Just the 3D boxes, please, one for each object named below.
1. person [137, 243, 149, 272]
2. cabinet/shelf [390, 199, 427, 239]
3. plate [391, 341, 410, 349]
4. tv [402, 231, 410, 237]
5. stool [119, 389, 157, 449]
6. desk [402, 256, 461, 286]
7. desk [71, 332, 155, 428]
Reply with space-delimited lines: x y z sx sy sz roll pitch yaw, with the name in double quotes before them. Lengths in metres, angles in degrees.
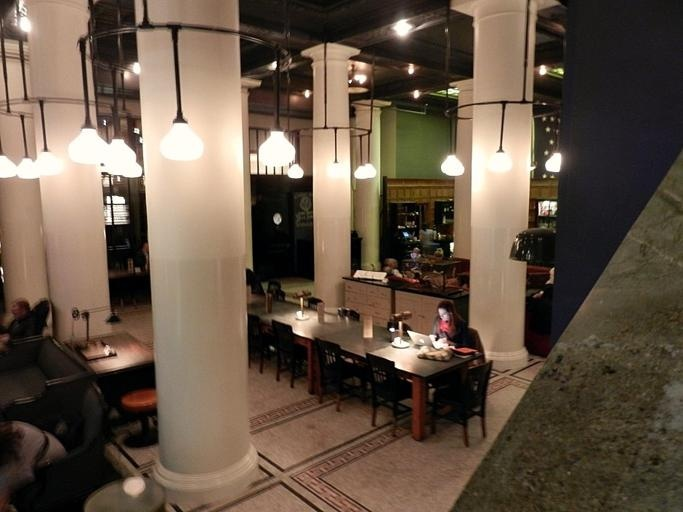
"person" -4.727 0.057 13.500 0.206 0.649 1.048 -4 9 -21
"cabinet/shelf" 2.308 -1.246 19.313 0.654 1.223 2.241 4 10 28
"plate" 0.754 1.121 7.163 0.225 0.047 0.232 0 9 2
"tv" 2.127 -0.740 18.668 0.169 0.238 0.401 6 11 38
"stool" -2.362 1.858 6.598 0.375 0.553 0.735 -4 9 -21
"desk" 1.727 0.287 11.116 0.782 0.523 0.788 1 5 37
"desk" -2.840 1.466 7.206 0.790 1.109 1.475 -9 16 -36
